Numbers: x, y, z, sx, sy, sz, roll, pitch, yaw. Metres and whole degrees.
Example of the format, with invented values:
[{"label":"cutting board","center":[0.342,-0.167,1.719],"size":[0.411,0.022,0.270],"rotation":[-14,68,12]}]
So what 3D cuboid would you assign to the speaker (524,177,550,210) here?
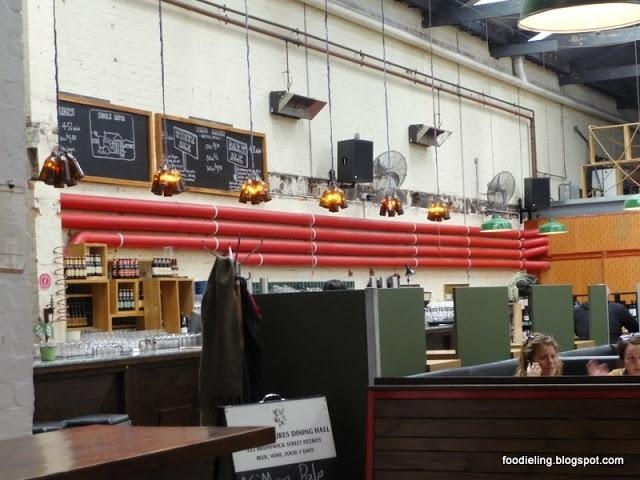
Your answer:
[{"label":"speaker","center":[3.800,-0.858,14.615],"size":[0.441,0.608,0.341],"rotation":[-3,6,-15]}]

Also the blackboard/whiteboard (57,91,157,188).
[{"label":"blackboard/whiteboard","center":[-2.139,-0.994,8.066],"size":[0.098,0.715,1.011],"rotation":[-8,-8,38]}]

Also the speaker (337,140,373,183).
[{"label":"speaker","center":[0.455,-1.044,10.777],"size":[0.437,0.543,0.430],"rotation":[1,-1,-24]}]

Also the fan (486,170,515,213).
[{"label":"fan","center":[2.879,-0.767,13.110],"size":[0.210,0.612,0.549],"rotation":[16,16,32]}]
